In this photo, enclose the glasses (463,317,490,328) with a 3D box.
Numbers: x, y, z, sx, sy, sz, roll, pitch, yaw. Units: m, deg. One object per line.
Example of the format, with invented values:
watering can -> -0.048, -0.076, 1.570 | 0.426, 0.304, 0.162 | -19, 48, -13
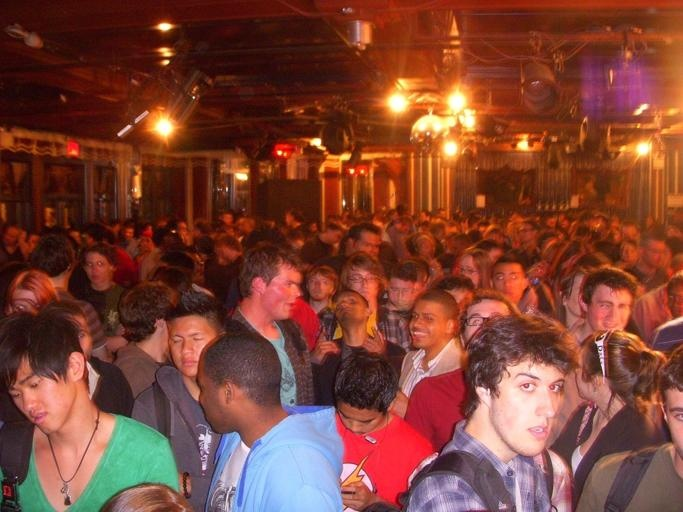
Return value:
glasses -> 0.807, 0.404, 3.527 | 0.078, 0.071, 0.164 | 2, -3, -26
